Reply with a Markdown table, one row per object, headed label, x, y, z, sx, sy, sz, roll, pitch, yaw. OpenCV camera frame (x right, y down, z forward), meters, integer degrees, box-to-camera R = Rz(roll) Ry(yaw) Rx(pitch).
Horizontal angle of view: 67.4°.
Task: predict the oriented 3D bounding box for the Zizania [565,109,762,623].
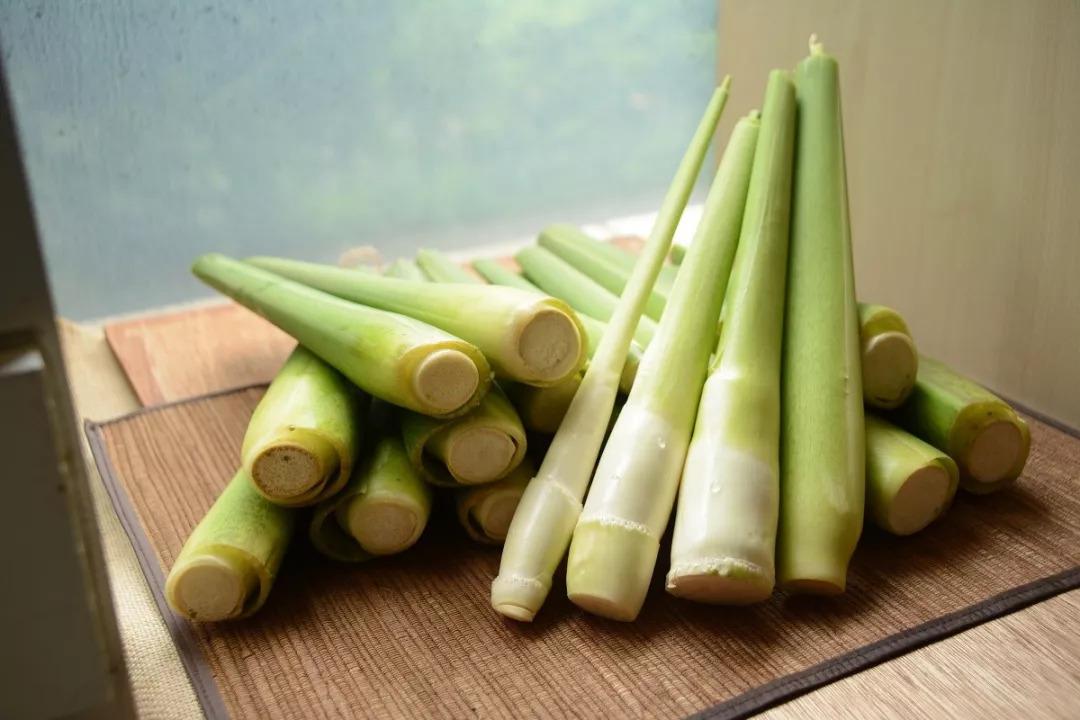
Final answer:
| label | x | y | z | sx | sy | sz | roll | pitch | yaw |
| --- | --- | --- | --- | --- | --- | --- | --- | --- | --- |
| Zizania | 0.125 | 0.041 | 0.863 | 0.099 | 0.111 | 0.700 | 12 | 66 | 12 |

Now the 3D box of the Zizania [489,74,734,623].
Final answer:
| label | x | y | z | sx | sy | sz | roll | pitch | yaw |
| --- | --- | --- | --- | --- | --- | --- | --- | --- | --- |
| Zizania | 0.199 | -0.205 | 1.063 | 0.099 | 0.110 | 1.129 | -13 | 44 | 48 |
